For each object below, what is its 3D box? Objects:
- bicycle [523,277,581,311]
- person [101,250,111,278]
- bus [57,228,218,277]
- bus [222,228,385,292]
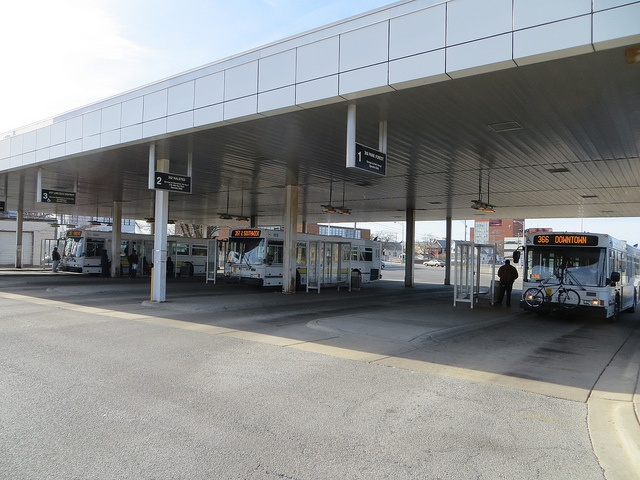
[{"bbox_3d":[8.185,2.020,15.880,1.621,0.771,0.771,-4,-8,29],"label":"bicycle"},{"bbox_3d":[-15.137,1.620,31.940,0.651,2.045,0.363,4,0,-22],"label":"person"},{"bbox_3d":[-13.704,1.270,34.815,3.891,2.598,12.011,-4,-6,43],"label":"bus"},{"bbox_3d":[0.993,1.349,29.800,4.419,3.404,14.577,2,-1,40],"label":"bus"}]
